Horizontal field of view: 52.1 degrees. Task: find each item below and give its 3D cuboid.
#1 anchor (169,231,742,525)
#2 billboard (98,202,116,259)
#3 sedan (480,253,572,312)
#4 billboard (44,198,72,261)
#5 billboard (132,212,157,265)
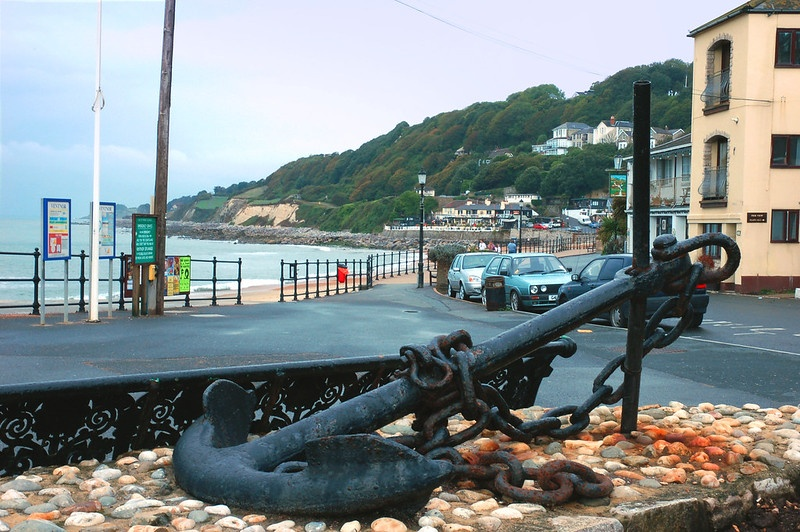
[{"bbox_3d":[0.756,1.012,7.897,5.967,1.219,3.176,-16,12,-37],"label":"anchor"},{"bbox_3d":[-6.540,-0.788,18.272,0.289,1.239,0.740,-2,3,-11],"label":"billboard"},{"bbox_3d":[3.589,0.380,22.800,1.397,1.070,2.388,-3,-1,-18],"label":"sedan"},{"bbox_3d":[-7.133,-0.762,16.983,0.735,1.273,0.616,-3,4,-38],"label":"billboard"},{"bbox_3d":[-5.875,-0.625,18.644,0.266,1.136,0.752,0,3,22],"label":"billboard"}]
